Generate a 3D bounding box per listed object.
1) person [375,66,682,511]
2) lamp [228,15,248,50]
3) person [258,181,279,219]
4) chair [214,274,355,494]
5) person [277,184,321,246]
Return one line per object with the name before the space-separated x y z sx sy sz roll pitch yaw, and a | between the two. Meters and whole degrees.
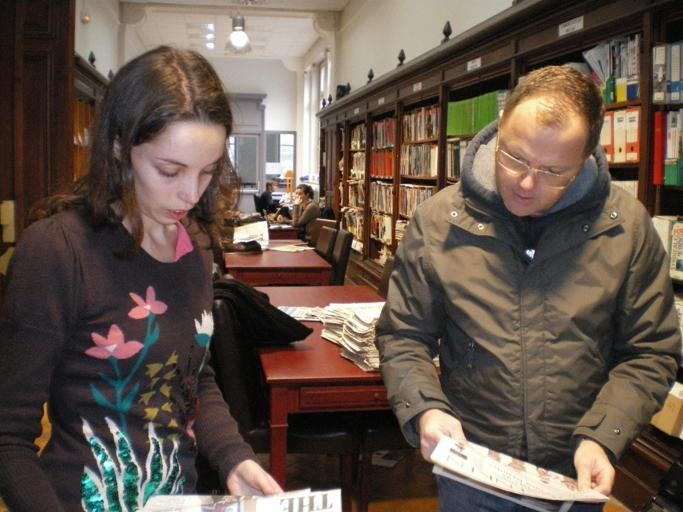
person | 0.529 0.046 1.497 0.860 1.116 0.534 -2 10 1
lamp | -1.695 -3.682 8.919 0.301 0.632 0.635 -3 10 -10
person | -1.595 -1.323 12.486 0.479 0.778 0.463 -1 13 3
chair | -0.213 0.517 2.901 0.757 1.405 0.771 -1 3 -8
person | -0.728 -0.535 9.018 0.701 1.311 0.539 0 20 -13
